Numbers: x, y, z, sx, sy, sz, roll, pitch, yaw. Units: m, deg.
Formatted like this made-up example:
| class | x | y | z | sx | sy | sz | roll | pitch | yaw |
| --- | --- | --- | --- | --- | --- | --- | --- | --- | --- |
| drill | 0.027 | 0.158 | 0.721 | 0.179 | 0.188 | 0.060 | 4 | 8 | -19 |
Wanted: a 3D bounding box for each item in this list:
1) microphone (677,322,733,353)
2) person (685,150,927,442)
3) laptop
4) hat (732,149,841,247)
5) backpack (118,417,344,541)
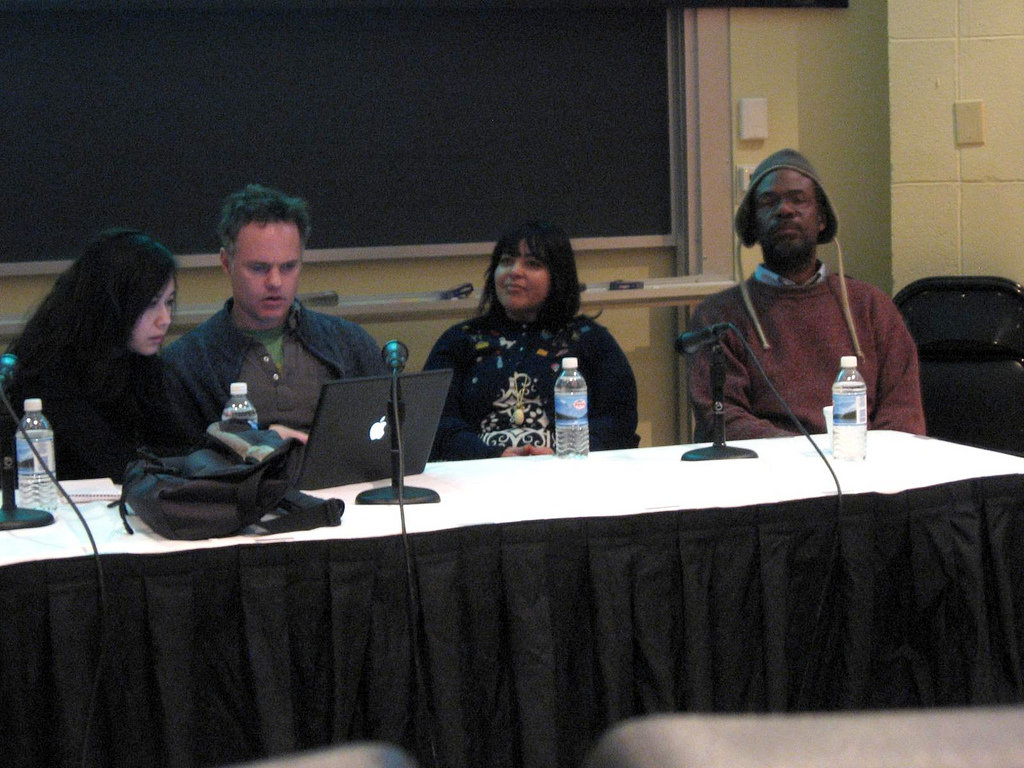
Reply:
| class | x | y | z | sx | sy | sz | roll | pitch | yaw |
| --- | --- | --- | --- | --- | --- | --- | --- | --- | --- |
| microphone | 0.519 | -0.131 | 2.910 | 0.135 | 0.101 | 0.200 | -1 | 15 | 9 |
| person | 0.905 | -0.280 | 3.342 | 0.699 | 0.845 | 0.688 | -2 | 14 | 4 |
| laptop | -0.318 | 0.100 | 2.519 | 0.379 | 0.275 | 0.267 | -7 | 33 | -37 |
| hat | 0.922 | -0.610 | 3.555 | 0.283 | 0.320 | 0.340 | -1 | -18 | 16 |
| backpack | -0.626 | 0.226 | 2.362 | 0.293 | 0.180 | 0.299 | -2 | 8 | -17 |
